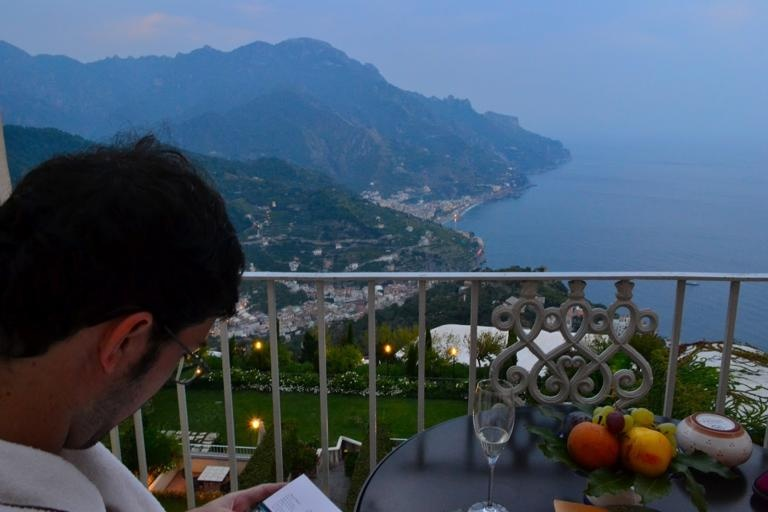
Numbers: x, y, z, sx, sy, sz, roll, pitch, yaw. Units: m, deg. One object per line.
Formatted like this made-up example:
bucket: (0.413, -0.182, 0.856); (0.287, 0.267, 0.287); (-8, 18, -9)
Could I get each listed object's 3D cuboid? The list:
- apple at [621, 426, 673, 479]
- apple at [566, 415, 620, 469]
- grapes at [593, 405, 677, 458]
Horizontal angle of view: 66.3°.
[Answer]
apple: (0.761, 0.564, 1.694); (0.144, 0.122, 0.077); (1, 2, 18)
apple: (0.611, 0.552, 1.731); (0.124, 0.130, 0.127); (2, -18, 5)
grapes: (0.743, 0.479, 1.782); (0.195, 0.144, 0.211); (-5, 9, -18)
